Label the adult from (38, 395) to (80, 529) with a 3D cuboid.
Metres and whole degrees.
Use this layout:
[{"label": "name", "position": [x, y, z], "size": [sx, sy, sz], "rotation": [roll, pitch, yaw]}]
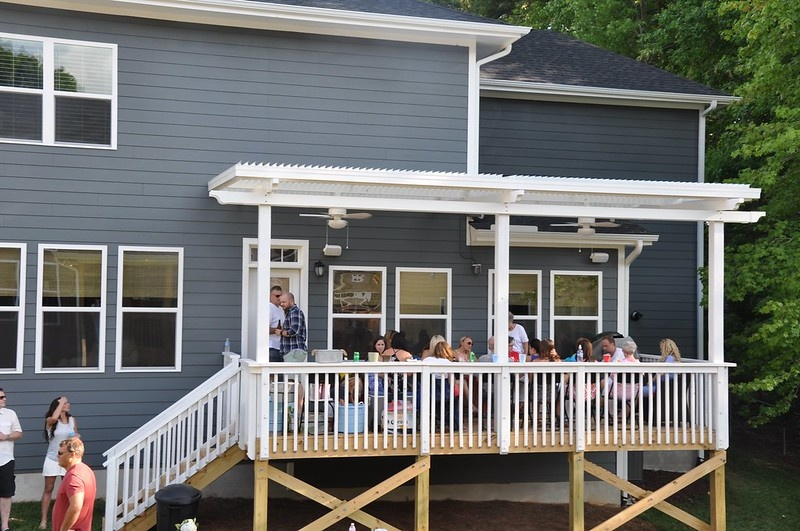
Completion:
[{"label": "adult", "position": [-6.637, 3.769, 25.051], "size": [0.833, 2.215, 0.762], "rotation": [6, -11, -36]}]
